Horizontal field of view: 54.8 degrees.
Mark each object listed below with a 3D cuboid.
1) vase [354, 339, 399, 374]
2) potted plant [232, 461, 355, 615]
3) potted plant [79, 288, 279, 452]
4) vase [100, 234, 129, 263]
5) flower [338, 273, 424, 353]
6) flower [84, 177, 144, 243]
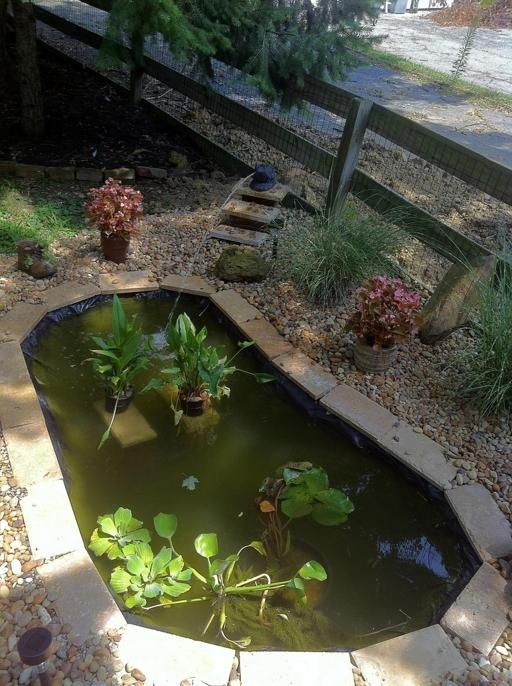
[{"bbox_3d":[0.807,0.076,3.397,0.238,0.172,0.224,27,42,28],"label":"vase"},{"bbox_3d":[0.178,0.896,2.332,0.475,0.201,0.596,1,60,29],"label":"potted plant"},{"bbox_3d":[-0.616,0.182,3.020,1.216,0.648,0.797,-17,66,-38],"label":"potted plant"},{"bbox_3d":[-1.176,-0.813,4.179,0.232,0.243,0.222,-8,47,-13],"label":"vase"},{"bbox_3d":[0.805,-0.164,3.224,0.406,0.271,0.425,15,5,-31],"label":"flower"},{"bbox_3d":[-1.164,-1.079,4.103,0.462,0.418,0.366,2,8,-9],"label":"flower"}]
